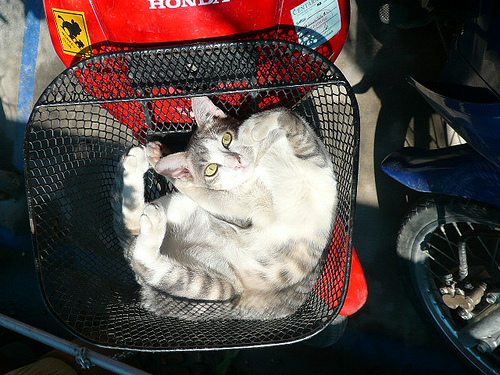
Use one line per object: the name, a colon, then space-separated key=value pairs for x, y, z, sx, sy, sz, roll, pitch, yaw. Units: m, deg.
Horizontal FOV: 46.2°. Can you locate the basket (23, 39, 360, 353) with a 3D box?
basket: x=-0.286 y=0.086 z=2.866 sx=1.572 sy=0.829 sz=1.403 roll=1 pitch=76 yaw=5

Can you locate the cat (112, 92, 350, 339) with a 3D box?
cat: x=-0.132 y=0.161 z=2.813 sx=1.170 sy=0.521 sz=1.071 roll=4 pitch=76 yaw=6
